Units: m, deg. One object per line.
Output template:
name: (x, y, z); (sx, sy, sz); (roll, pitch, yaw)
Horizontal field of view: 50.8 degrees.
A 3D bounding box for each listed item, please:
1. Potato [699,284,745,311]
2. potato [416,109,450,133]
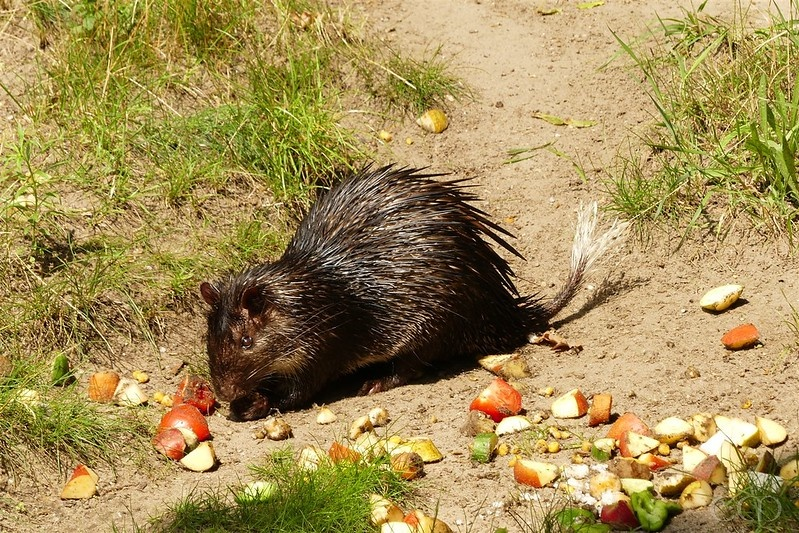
Potato: (2.429, 0.224, 6.276); (0.318, 0.189, 0.187); (-12, 47, 4)
potato: (0.339, -1.433, 8.277); (0.313, 0.190, 0.201); (-9, 47, 6)
